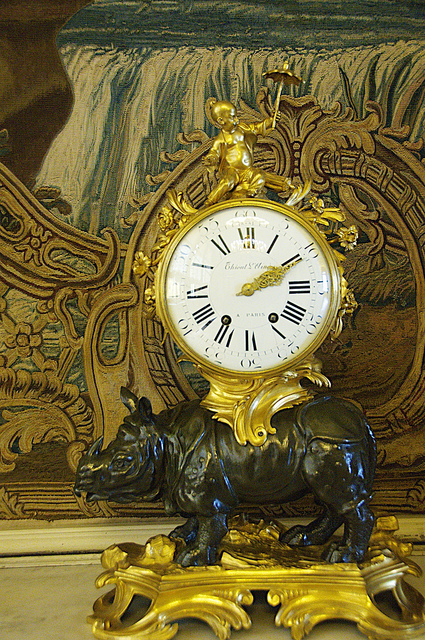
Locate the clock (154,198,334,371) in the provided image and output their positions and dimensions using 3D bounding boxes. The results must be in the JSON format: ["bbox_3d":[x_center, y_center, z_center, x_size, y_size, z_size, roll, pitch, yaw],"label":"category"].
[{"bbox_3d":[0.088,-0.094,3.269,0.474,0.432,0.455,3,0,2],"label":"clock"}]

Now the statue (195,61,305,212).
[{"bbox_3d":[0.089,-0.493,3.101,0.325,0.350,0.111,-9,13,-11],"label":"statue"}]
